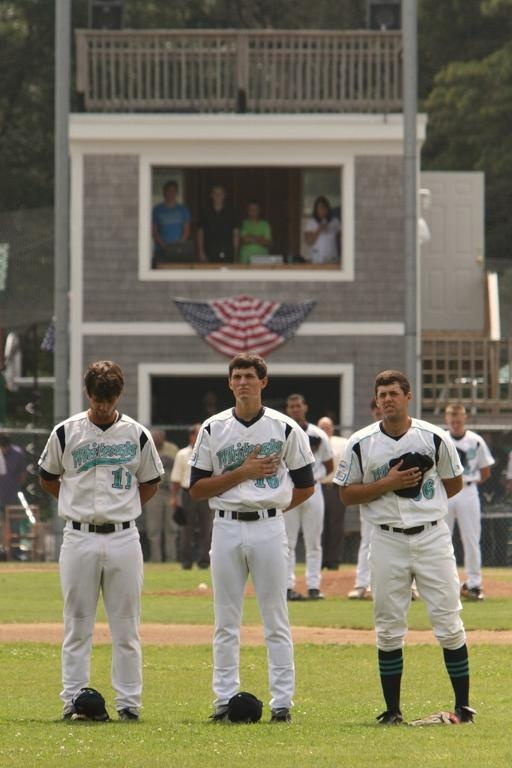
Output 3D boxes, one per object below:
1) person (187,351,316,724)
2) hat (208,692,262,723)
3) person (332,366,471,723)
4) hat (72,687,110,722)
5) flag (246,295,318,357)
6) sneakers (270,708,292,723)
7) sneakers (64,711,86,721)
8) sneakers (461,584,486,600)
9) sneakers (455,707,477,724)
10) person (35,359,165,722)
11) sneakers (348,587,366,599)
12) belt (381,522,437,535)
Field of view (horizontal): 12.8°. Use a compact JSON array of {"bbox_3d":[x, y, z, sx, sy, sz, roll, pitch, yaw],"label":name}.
[{"bbox_3d":[-0.040,1.231,17.953,0.712,2.926,0.549,-3,-13,13],"label":"person"},{"bbox_3d":[-0.152,2.501,17.810,0.392,0.231,0.173,0,2,-1],"label":"hat"},{"bbox_3d":[1.165,1.302,17.978,0.743,2.800,0.735,-4,-4,4],"label":"person"},{"bbox_3d":[-1.277,2.461,17.633,0.130,0.234,0.376,4,3,-21],"label":"hat"},{"bbox_3d":[0.355,-0.680,28.933,0.816,0.682,0.192,0,2,-1],"label":"flag"},{"bbox_3d":[0.186,2.559,17.831,0.157,0.127,0.200,0,2,1],"label":"sneakers"},{"bbox_3d":[-1.402,2.560,17.703,0.106,0.061,0.087,6,-4,-28],"label":"sneakers"},{"bbox_3d":[2.268,2.193,24.122,0.096,0.172,0.333,2,-8,-16],"label":"sneakers"},{"bbox_3d":[1.619,2.570,17.858,0.143,0.127,0.107,0,2,1],"label":"sneakers"},{"bbox_3d":[-1.201,1.227,17.848,0.889,2.776,0.538,0,2,-4],"label":"person"},{"bbox_3d":[1.061,2.178,23.906,0.093,0.084,0.141,-2,-3,25],"label":"sneakers"},{"bbox_3d":[1.186,1.128,17.937,0.445,0.107,0.116,0,2,2],"label":"belt"}]
